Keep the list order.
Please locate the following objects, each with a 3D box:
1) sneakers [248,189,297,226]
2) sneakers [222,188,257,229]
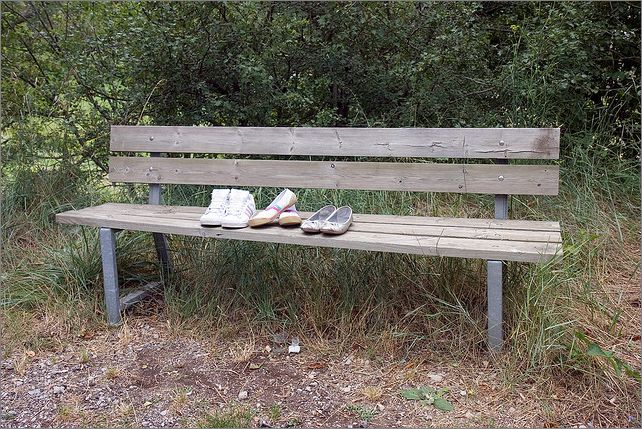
[{"bbox_3d":[-0.333,-0.020,3.625,0.415,0.152,0.152,-36,15,-38],"label":"sneakers"},{"bbox_3d":[-0.575,-0.038,3.549,0.242,0.237,0.239,-6,12,-7],"label":"sneakers"}]
